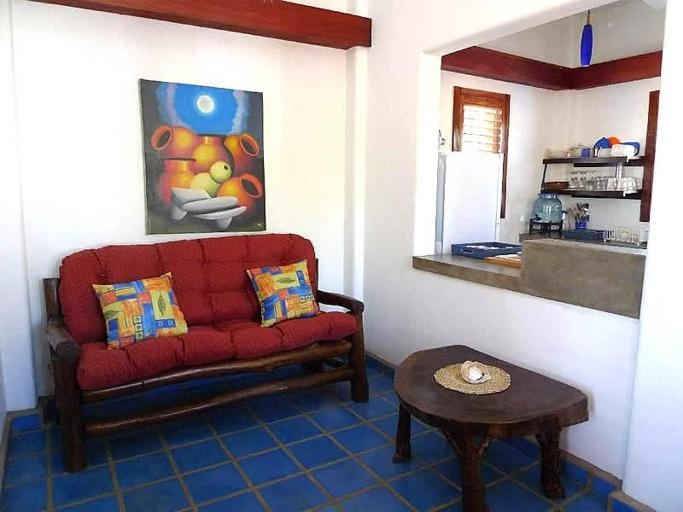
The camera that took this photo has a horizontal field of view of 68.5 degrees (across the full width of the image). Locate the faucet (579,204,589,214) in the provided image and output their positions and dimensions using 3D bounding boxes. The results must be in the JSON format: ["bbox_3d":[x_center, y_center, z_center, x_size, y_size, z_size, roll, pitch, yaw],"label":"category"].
[{"bbox_3d":[2.868,-0.561,5.941,0.108,0.099,0.029,10,2,11],"label":"faucet"}]

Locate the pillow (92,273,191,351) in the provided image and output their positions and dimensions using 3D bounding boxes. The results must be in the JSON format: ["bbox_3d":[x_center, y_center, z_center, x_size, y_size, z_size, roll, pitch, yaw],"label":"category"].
[{"bbox_3d":[-1.350,0.356,3.369,0.499,0.361,0.351,-10,15,-30],"label":"pillow"}]

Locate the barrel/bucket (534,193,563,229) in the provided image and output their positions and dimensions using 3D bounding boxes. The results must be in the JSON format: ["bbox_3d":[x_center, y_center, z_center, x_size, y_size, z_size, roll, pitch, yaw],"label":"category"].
[{"bbox_3d":[2.326,-0.517,5.681,0.348,0.363,0.332,0,8,0],"label":"barrel/bucket"}]

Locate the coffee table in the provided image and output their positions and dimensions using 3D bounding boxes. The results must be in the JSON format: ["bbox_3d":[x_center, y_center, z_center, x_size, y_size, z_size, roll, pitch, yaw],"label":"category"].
[{"bbox_3d":[0.756,1.018,2.957,0.893,0.667,0.939,-10,15,-30],"label":"coffee table"}]

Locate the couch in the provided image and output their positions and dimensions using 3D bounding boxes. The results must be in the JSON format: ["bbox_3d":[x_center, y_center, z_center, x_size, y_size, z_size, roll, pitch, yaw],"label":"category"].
[{"bbox_3d":[-0.918,0.540,3.615,2.141,1.112,0.990,-7,16,-38],"label":"couch"}]

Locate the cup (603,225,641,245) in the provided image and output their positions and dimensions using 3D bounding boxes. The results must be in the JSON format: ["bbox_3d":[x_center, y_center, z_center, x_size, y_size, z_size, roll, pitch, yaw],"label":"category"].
[{"bbox_3d":[2.767,-0.207,4.942,0.256,0.113,0.257,-1,11,0],"label":"cup"}]
